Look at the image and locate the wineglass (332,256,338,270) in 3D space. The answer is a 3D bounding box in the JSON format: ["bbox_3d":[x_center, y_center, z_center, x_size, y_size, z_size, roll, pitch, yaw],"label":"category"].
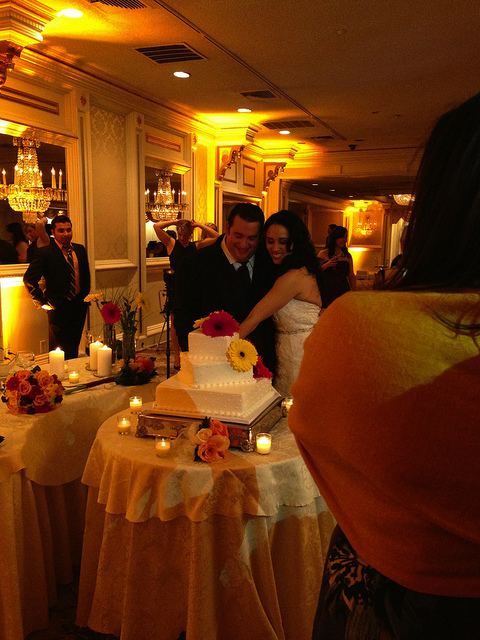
[{"bbox_3d":[1.605,-0.973,7.745,0.092,0.222,0.213,5,12,11],"label":"wineglass"}]

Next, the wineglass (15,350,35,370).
[{"bbox_3d":[-1.222,0.221,2.656,0.104,0.166,0.102,6,5,20],"label":"wineglass"}]

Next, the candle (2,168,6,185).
[{"bbox_3d":[-2.397,-1.459,4.647,0.029,0.149,0.109,-3,13,-26],"label":"candle"}]

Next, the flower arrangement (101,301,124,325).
[{"bbox_3d":[-0.850,-0.040,3.053,0.144,0.153,0.189,1,12,-9],"label":"flower arrangement"}]

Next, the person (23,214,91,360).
[{"bbox_3d":[-1.991,-0.333,4.967,0.688,1.571,0.425,-5,14,-34],"label":"person"}]

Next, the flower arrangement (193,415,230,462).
[{"bbox_3d":[-0.102,0.435,1.742,0.121,0.151,0.103,-1,12,-38],"label":"flower arrangement"}]

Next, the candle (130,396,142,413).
[{"bbox_3d":[-0.502,0.409,2.207,0.067,0.076,0.066,3,0,-10],"label":"candle"}]

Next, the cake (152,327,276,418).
[{"bbox_3d":[-0.108,0.214,1.996,0.430,0.370,0.363,5,10,21],"label":"cake"}]

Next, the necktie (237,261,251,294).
[{"bbox_3d":[0.033,-0.274,2.821,0.081,0.170,0.033,-4,5,-24],"label":"necktie"}]

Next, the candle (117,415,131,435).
[{"bbox_3d":[-0.522,0.469,2.036,0.064,0.077,0.066,0,-3,20],"label":"candle"}]

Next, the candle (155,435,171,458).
[{"bbox_3d":[-0.316,0.502,1.808,0.063,0.076,0.065,1,-2,18],"label":"candle"}]

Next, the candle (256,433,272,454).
[{"bbox_3d":[0.096,0.503,1.841,0.053,0.064,0.059,0,0,-2],"label":"candle"}]

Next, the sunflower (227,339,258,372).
[{"bbox_3d":[0.004,0.162,1.896,0.133,0.152,0.076,-5,14,-34],"label":"sunflower"}]
